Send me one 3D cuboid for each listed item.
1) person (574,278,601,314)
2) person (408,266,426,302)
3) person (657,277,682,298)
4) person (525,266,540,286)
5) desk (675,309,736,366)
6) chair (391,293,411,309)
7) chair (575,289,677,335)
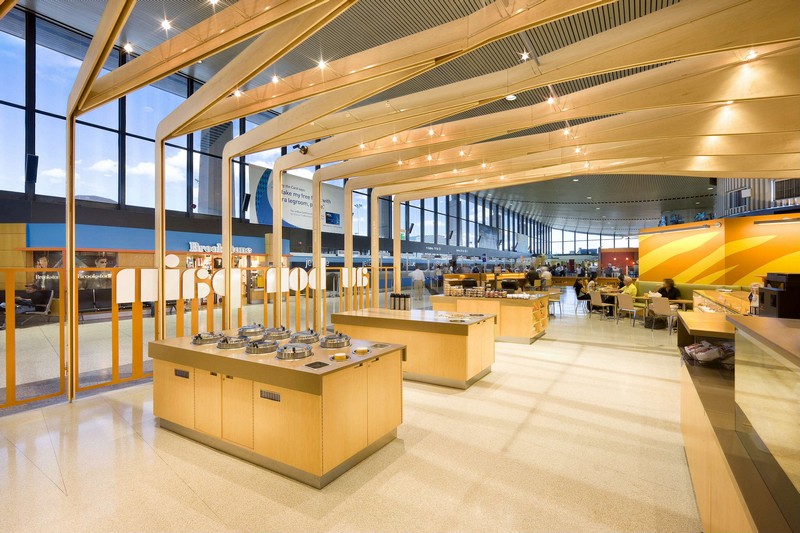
[{"bbox_3d":[6.381,1.027,16.685,0.819,1.040,1.142,-2,3,-16],"label":"person"},{"bbox_3d":[0.569,0.631,15.508,0.398,1.032,1.190,-1,0,3],"label":"person"},{"bbox_3d":[7.274,0.593,13.277,0.470,0.465,0.930,-1,-1,27],"label":"person"},{"bbox_3d":[4.858,0.340,17.964,0.461,0.540,0.840,3,1,28],"label":"person"},{"bbox_3d":[4.143,0.999,6.655,0.635,0.616,1.047,-1,-1,30],"label":"desk"},{"bbox_3d":[0.023,0.690,9.876,0.288,0.436,0.493,-1,2,-34],"label":"chair"},{"bbox_3d":[6.760,1.175,13.868,1.119,0.604,1.653,-4,5,-27],"label":"chair"}]
